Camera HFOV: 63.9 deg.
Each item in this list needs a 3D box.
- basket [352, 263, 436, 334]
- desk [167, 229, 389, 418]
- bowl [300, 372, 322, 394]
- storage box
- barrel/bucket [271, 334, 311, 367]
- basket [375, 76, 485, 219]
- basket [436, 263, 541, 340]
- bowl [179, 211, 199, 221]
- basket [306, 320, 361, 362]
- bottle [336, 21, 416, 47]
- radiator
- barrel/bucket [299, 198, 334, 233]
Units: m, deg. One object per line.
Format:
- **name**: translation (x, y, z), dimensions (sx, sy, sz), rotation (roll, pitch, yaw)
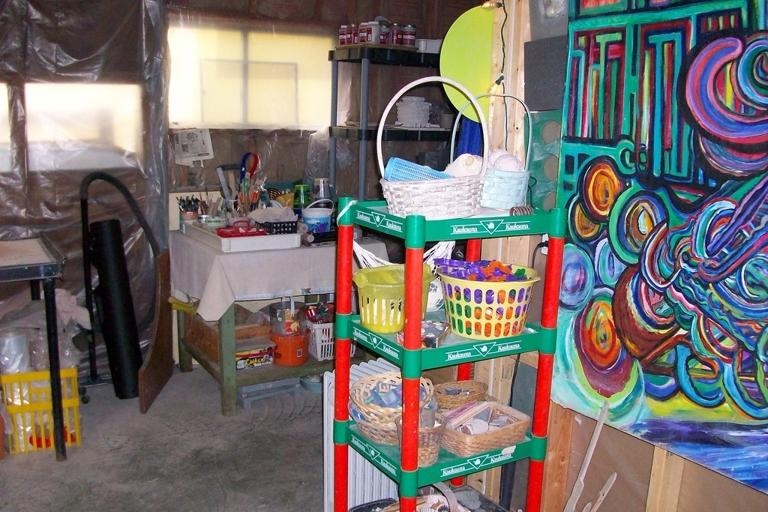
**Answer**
- **basket**: translation (0.035, 0.164, 2.691), dimensions (0.319, 0.221, 0.275), rotation (-2, 9, -30)
- **desk**: translation (-0.837, 0.408, 4.538), dimensions (1.282, 1.009, 1.294), rotation (-1, 13, -11)
- **bowl**: translation (-0.536, 0.928, 4.532), dimensions (0.158, 0.080, 0.177), rotation (-2, 10, -21)
- **storage box**: translation (-1.078, 0.580, 4.433), dimensions (0.385, 0.203, 0.511), rotation (-3, 12, -31)
- **barrel/bucket**: translation (-0.662, 0.657, 4.307), dimensions (0.219, 0.176, 0.224), rotation (1, 13, 0)
- **basket**: translation (0.205, -0.464, 2.559), dimensions (0.438, 0.561, 0.643), rotation (1, 13, 8)
- **basket**: translation (0.405, 0.186, 2.563), dimensions (0.339, 0.215, 0.348), rotation (4, 15, 15)
- **bowl**: translation (-1.460, -0.300, 4.619), dimensions (0.112, 0.058, 0.126), rotation (-6, 14, -21)
- **basket**: translation (-0.369, 0.608, 4.488), dimensions (0.330, 0.218, 0.235), rotation (-3, 7, -28)
- **bottle**: translation (-0.058, -1.803, 5.016), dimensions (0.621, 0.207, 0.247), rotation (-1, 13, -3)
- **radiator**: translation (-0.086, 0.839, 3.026), dimensions (0.139, 0.717, 0.386), rotation (-6, 6, -31)
- **barrel/bucket**: translation (-0.458, -0.289, 4.348), dimensions (0.251, 0.260, 0.218), rotation (2, 8, 7)
